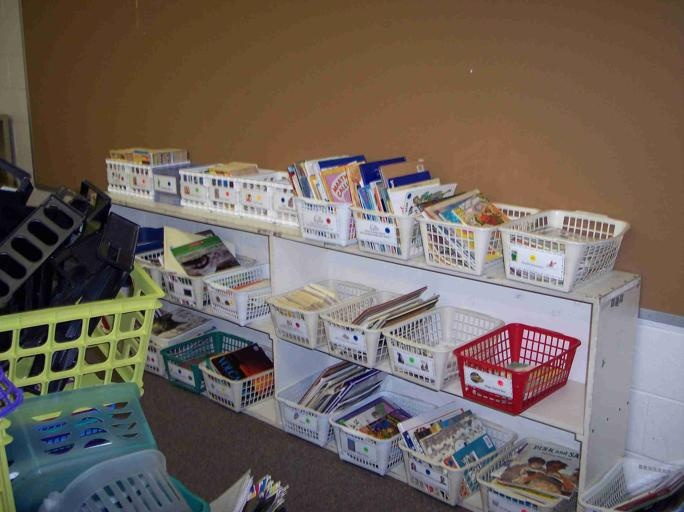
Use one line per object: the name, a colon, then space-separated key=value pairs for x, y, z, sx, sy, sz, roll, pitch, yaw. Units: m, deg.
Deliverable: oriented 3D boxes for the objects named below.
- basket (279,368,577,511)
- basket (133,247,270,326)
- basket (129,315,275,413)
basket: x=0.240 y=0.920 z=2.745 sx=1.222 sy=0.246 sz=0.606 roll=13 pitch=24 yaw=41
basket: x=-0.714 y=0.190 z=3.265 sx=0.576 sy=0.195 sz=0.421 roll=12 pitch=23 yaw=40
basket: x=-0.837 y=0.670 z=3.437 sx=0.741 sy=0.243 sz=0.488 roll=12 pitch=19 yaw=42
